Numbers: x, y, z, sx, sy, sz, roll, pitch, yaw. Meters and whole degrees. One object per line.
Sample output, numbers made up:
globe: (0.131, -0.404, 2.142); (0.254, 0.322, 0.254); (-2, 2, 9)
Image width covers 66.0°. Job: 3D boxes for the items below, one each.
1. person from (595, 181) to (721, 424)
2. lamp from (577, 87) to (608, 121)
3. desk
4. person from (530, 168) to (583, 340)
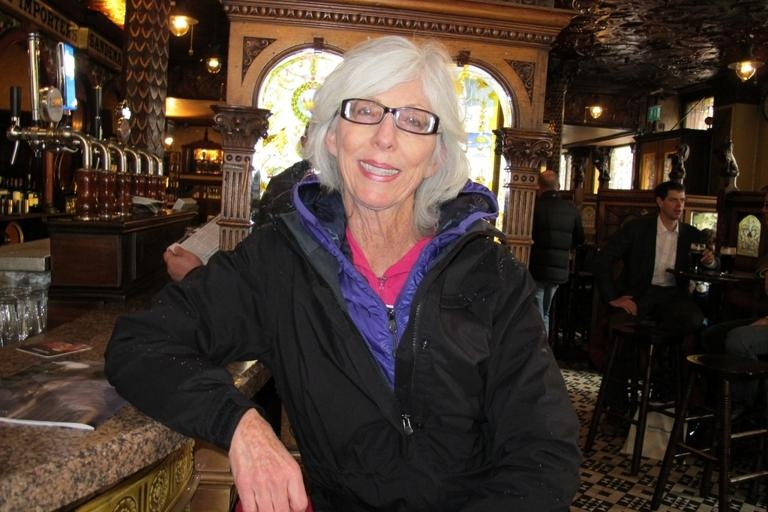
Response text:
person: (2.833, 0.120, 6.133); (1.149, 1.760, 1.083); (6, 3, 35)
lamp: (5.349, -3.874, 15.290); (0.720, 0.906, 0.724); (1, -6, -2)
desk: (3.139, 0.203, 5.599); (0.747, 0.210, 0.615); (3, 2, 13)
person: (2.097, 0.056, 7.560); (0.793, 2.272, 0.681); (-4, 27, -3)
